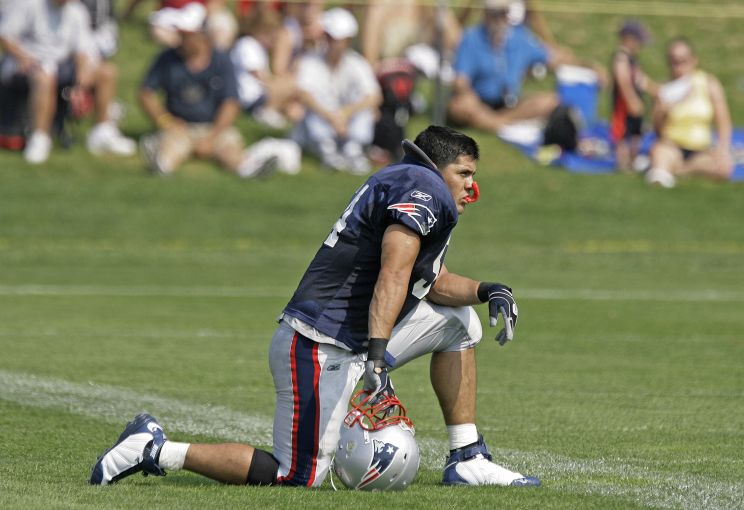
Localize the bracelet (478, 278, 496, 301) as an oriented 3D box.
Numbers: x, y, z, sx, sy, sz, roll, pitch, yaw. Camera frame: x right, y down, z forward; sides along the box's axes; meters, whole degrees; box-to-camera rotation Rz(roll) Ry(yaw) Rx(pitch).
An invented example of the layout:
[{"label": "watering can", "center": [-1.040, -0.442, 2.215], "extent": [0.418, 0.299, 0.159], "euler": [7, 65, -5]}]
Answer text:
[{"label": "bracelet", "center": [1.013, 0.290, 15.347], "extent": [0.103, 0.165, 0.127], "euler": [12, 6, 4]}]

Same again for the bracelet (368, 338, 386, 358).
[{"label": "bracelet", "center": [0.056, 0.784, 14.897], "extent": [0.161, 0.154, 0.151], "euler": [8, -1, 39]}]

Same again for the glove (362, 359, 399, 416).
[{"label": "glove", "center": [0.072, 1.117, 14.914], "extent": [0.229, 0.451, 0.285], "euler": [5, -7, -10]}]
